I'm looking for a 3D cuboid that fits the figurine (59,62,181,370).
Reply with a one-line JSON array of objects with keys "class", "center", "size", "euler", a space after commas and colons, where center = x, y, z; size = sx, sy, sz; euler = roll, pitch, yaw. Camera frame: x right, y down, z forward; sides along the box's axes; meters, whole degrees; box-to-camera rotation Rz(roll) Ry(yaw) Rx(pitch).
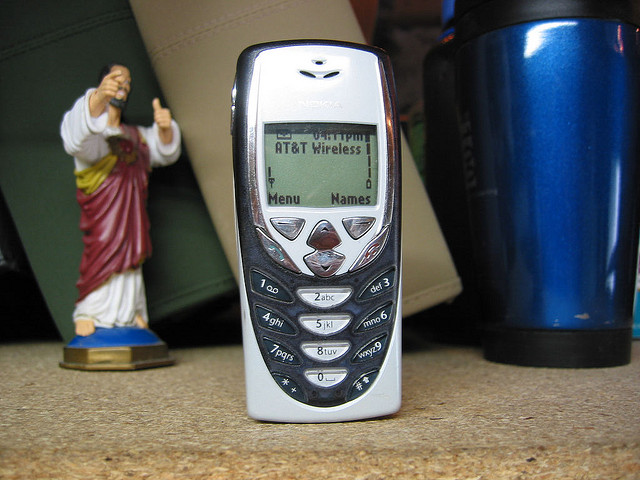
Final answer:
[{"class": "figurine", "center": [-0.422, -0.061, 1.480], "size": [0.264, 0.549, 0.400], "euler": [7, 8, 41]}]
